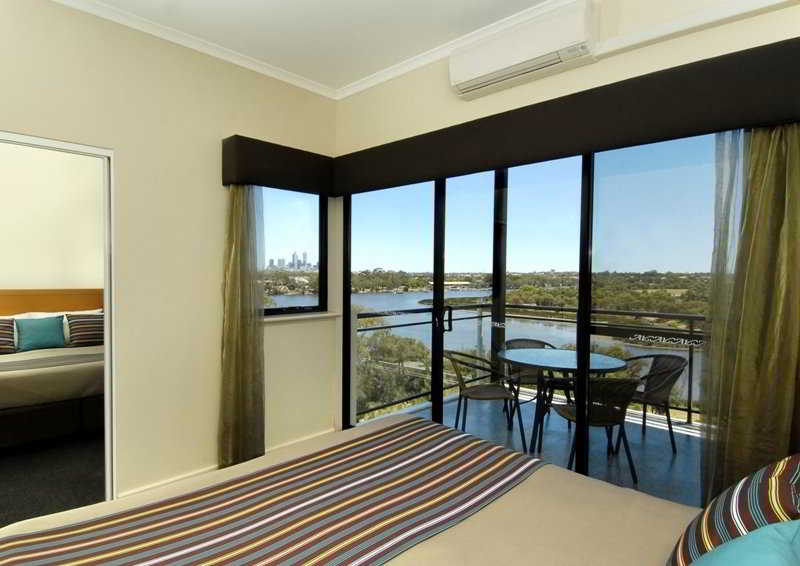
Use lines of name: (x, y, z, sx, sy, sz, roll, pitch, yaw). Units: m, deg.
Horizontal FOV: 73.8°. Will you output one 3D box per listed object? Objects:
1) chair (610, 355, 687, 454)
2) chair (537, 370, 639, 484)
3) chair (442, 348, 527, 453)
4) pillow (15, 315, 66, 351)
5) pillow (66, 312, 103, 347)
chair: (1.726, 0.790, 3.548, 0.398, 0.545, 0.442, -8, -10, 44)
chair: (1.369, 1.018, 3.798, 0.590, 0.763, 0.553, 0, 2, -19)
chair: (0.686, 0.905, 4.204, 0.524, 0.719, 0.528, -4, 0, -3)
pillow: (-2.548, 0.341, 3.745, 0.084, 0.234, 0.241, -7, -1, 40)
pillow: (-2.308, 0.331, 3.877, 0.227, 0.237, 0.083, -4, 6, -19)
